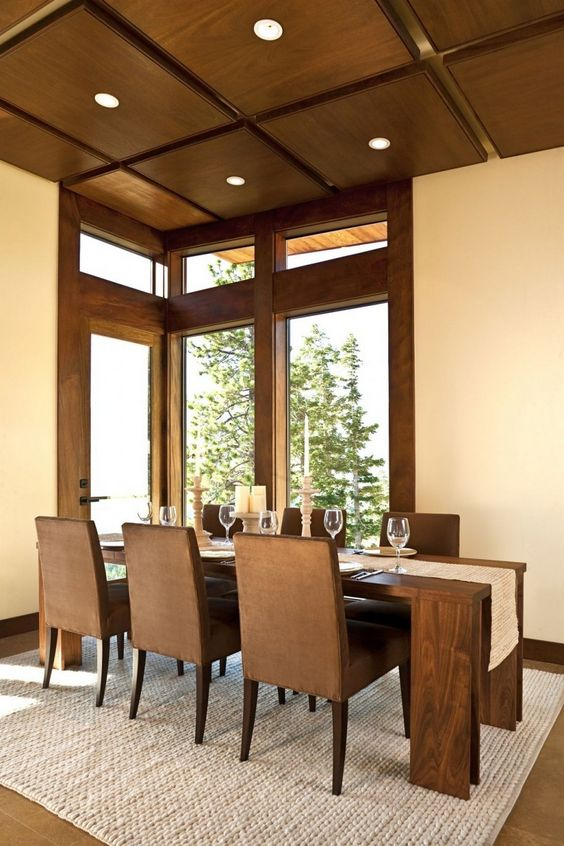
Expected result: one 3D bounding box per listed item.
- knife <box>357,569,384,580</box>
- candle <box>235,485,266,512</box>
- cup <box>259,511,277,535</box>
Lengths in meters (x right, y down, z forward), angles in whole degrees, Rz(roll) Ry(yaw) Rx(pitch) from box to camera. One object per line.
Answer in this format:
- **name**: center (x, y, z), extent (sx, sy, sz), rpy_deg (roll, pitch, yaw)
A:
- **knife**: center (0.297, 0.521, 2.308), extent (0.036, 0.013, 0.114), rpy_deg (-3, -7, 25)
- **candle**: center (-0.145, 0.345, 3.025), extent (0.121, 0.116, 0.125), rpy_deg (-1, 2, -42)
- **cup**: center (-0.051, 0.394, 2.615), extent (0.080, 0.116, 0.080), rpy_deg (-1, -3, 0)
